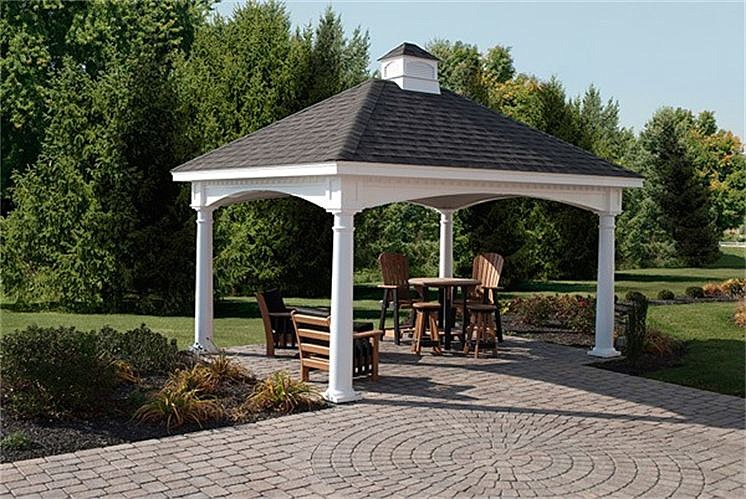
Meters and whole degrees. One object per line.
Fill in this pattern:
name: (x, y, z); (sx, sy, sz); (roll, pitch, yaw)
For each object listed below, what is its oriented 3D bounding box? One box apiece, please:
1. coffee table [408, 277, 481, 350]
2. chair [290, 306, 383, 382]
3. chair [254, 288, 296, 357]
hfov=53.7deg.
coffee table: (1.796, 1.620, 18.934); (1.661, 1.982, 1.878); (-1, 0, -29)
chair: (-0.787, 2.157, 16.463); (1.832, 1.523, 1.541); (3, -2, -38)
chair: (-2.389, 1.866, 18.349); (0.922, 1.590, 1.110); (-4, 14, -25)
